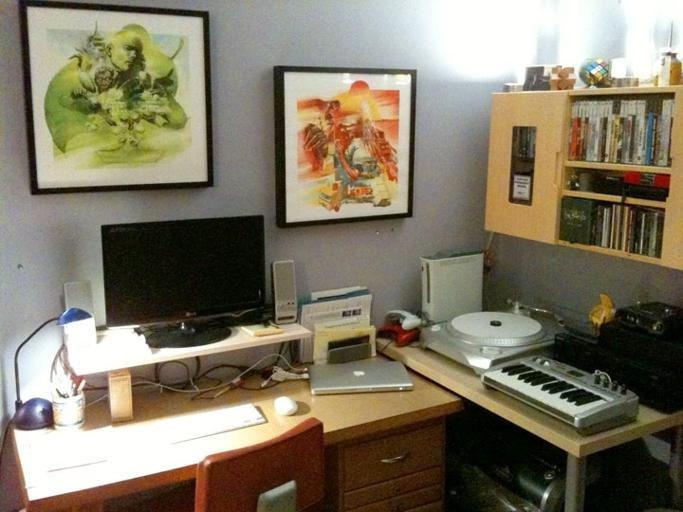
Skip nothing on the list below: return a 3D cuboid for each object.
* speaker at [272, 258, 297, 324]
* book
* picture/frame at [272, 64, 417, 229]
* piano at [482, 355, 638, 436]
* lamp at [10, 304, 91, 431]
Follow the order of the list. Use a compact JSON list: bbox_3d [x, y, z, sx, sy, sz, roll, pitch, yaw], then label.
[{"bbox_3d":[-0.270,0.173,2.719,0.143,0.292,0.111,-7,15,-21],"label":"speaker"},{"bbox_3d":[1.223,-0.358,2.491,0.237,0.752,0.554,-4,14,-25],"label":"book"},{"bbox_3d":[-0.012,-0.572,2.849,0.797,0.803,0.065,-5,12,-26],"label":"picture/frame"},{"bbox_3d":[0.900,0.558,2.350,0.343,0.134,0.539,-13,18,-36],"label":"piano"},{"bbox_3d":[-1.212,0.448,2.366,0.364,0.476,0.303,-8,15,-22],"label":"lamp"}]
